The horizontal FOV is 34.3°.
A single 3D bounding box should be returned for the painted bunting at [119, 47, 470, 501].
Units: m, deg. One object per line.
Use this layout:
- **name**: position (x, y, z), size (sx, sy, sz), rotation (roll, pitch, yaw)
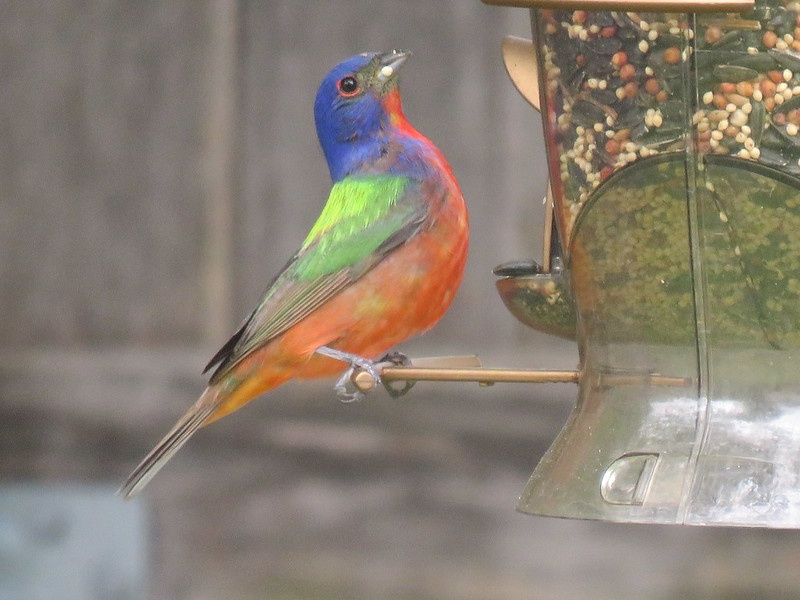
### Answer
- **painted bunting**: position (-0.140, -0.050, 2.627), size (0.488, 0.878, 0.541), rotation (16, 19, 17)
